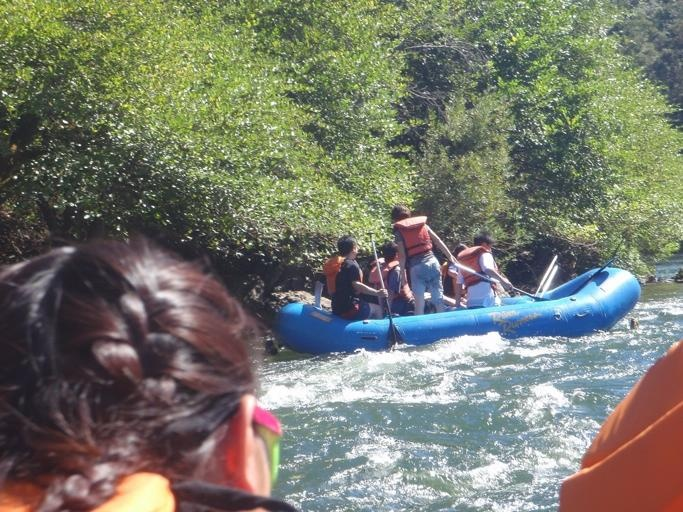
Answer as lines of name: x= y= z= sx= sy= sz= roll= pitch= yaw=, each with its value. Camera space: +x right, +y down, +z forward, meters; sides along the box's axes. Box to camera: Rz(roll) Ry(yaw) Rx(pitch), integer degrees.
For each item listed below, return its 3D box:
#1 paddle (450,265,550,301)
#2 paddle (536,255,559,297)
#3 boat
paddle: x=3.007 y=0.544 z=17.705 sx=1.067 sy=0.198 sz=0.154 roll=30 pitch=45 yaw=2
paddle: x=4.487 y=0.423 z=20.374 sx=0.246 sy=0.970 sz=0.058 roll=25 pitch=-15 yaw=3
boat: x=2.130 y=1.056 z=15.119 sx=4.795 sy=0.938 sz=2.256 roll=-6 pitch=-4 yaw=-2
